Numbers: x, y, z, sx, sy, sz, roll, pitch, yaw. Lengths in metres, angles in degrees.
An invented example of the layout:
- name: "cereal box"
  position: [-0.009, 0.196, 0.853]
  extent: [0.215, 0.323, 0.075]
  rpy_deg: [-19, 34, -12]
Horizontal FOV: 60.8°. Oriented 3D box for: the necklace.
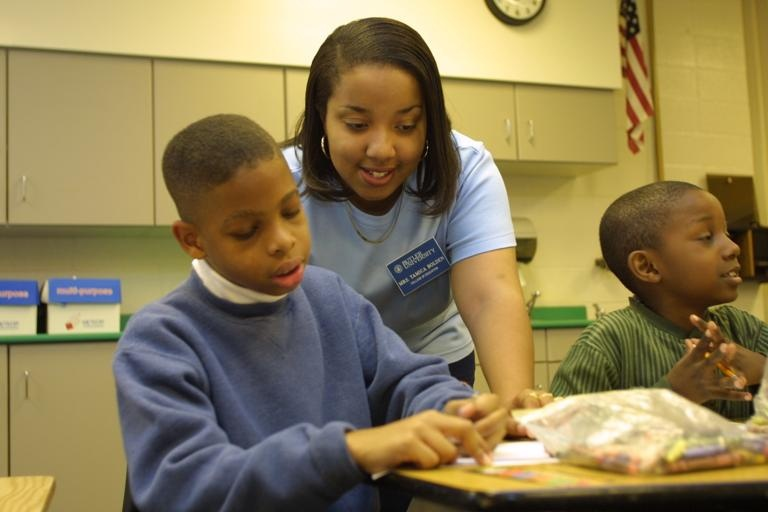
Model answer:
- name: "necklace"
  position: [-0.030, -0.122, 1.923]
  extent: [0.127, 0.169, 0.089]
  rpy_deg: [-9, -3, -3]
